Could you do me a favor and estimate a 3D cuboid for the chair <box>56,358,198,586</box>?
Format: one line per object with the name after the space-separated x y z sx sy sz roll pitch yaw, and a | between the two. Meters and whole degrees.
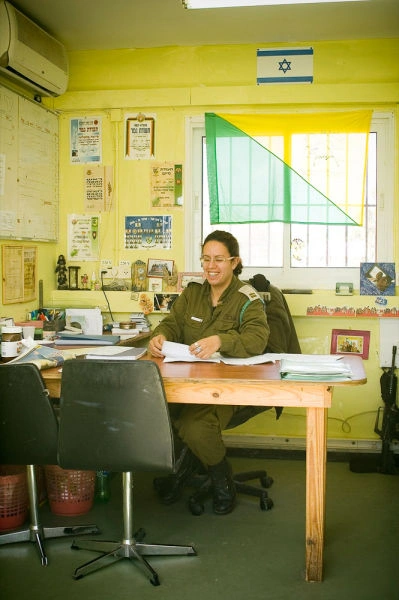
-0.253 0.565 1.681 0.371 0.767 0.423 1 -1 5 | chair

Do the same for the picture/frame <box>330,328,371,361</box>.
0.916 0.262 3.010 0.194 0.162 0.015 3 0 7 | picture/frame

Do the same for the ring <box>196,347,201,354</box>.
-0.006 0.198 1.974 0.024 0.025 0.007 1 -4 6 | ring

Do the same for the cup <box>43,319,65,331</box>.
-0.824 0.138 2.855 0.075 0.048 0.076 1 2 0 | cup

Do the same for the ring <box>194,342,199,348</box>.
-0.012 0.179 1.983 0.021 0.019 0.005 34 -4 40 | ring

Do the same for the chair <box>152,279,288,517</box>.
0.134 0.387 2.501 0.730 1.306 0.688 0 -5 4 | chair

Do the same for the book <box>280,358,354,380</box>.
0.395 0.240 1.730 0.231 0.042 0.289 0 -1 10 | book

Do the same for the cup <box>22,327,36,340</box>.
-0.858 0.168 2.506 0.076 0.087 0.082 0 -4 0 | cup
